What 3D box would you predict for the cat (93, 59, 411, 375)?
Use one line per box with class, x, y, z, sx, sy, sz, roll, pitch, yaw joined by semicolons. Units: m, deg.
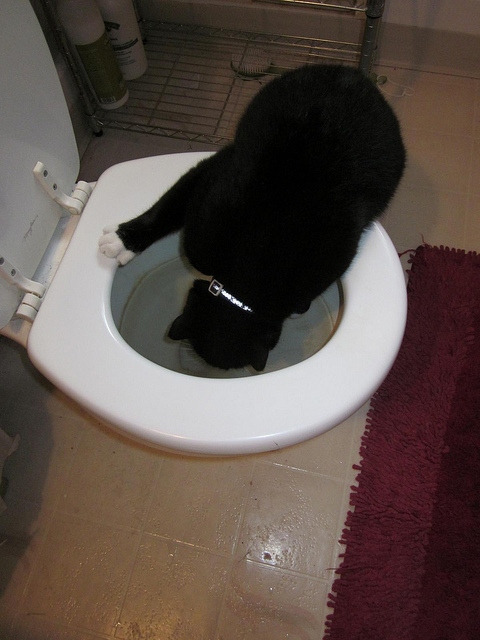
cat;0.014;-0.117;0.682;0.268;0.345;0.334;40;73;22
